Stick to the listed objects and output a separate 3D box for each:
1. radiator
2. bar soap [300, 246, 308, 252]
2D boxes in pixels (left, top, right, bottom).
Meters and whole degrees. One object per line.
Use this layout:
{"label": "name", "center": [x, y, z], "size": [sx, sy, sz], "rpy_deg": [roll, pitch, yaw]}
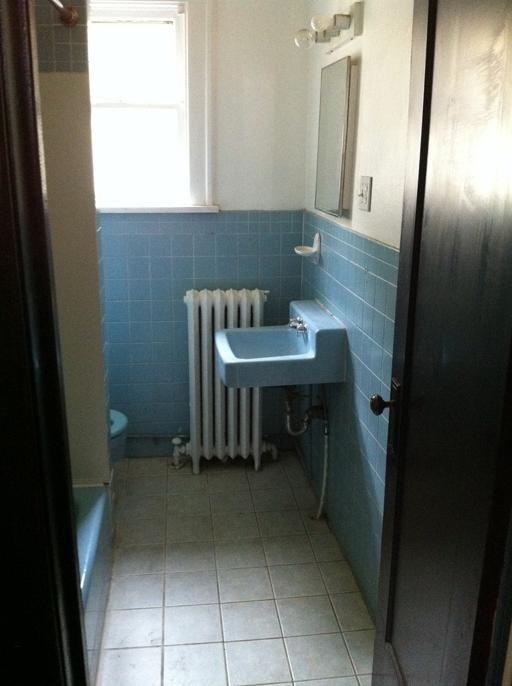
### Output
{"label": "radiator", "center": [-0.182, 0.193, 3.073], "size": [0.584, 1.263, 0.206], "rpy_deg": [-2, 36, -6]}
{"label": "bar soap", "center": [0.242, -0.464, 2.718], "size": [0.031, 0.015, 0.092], "rpy_deg": [2, 15, 6]}
